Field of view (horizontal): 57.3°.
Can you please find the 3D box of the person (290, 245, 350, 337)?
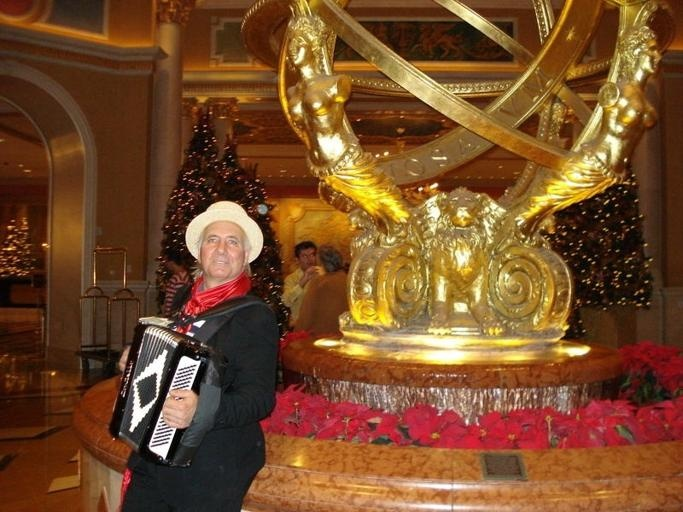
[{"bbox_3d":[-0.168,0.290,5.352,0.438,0.770,0.569,0,-6,-4],"label":"person"}]
